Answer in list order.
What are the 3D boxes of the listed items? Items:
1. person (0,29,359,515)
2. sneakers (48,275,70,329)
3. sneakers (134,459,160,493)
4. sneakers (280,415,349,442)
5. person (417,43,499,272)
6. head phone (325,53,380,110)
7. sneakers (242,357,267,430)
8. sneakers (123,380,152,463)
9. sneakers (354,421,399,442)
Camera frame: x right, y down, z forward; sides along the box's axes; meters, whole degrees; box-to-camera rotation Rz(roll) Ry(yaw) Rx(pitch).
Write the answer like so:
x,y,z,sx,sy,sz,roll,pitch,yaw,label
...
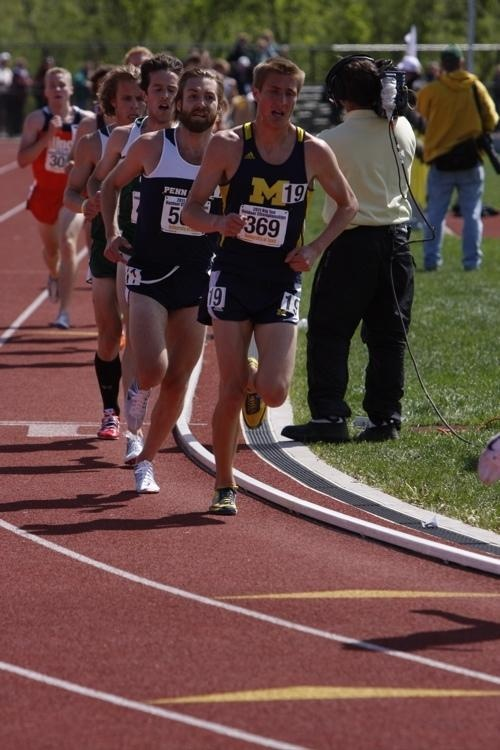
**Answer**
x,y,z,sx,sy,sz,roll,pitch,yaw,label
-0.113,-0.351,3.871,1.038,2.002,0.683,10,11,44,person
-1.829,-0.739,8.516,0.219,0.278,0.683,-25,35,1,sneakers
-0.511,0.506,4.248,0.083,0.086,0.216,-2,11,-11,sneakers
0.376,0.306,5.071,0.386,0.156,0.144,2,0,-1,sneakers
2.749,-2.907,11.539,0.983,2.906,0.374,4,8,12,person
0.543,-1.622,4.830,0.288,0.333,0.327,-6,43,0,head phone
0.036,0.140,4.850,0.145,0.393,0.163,1,28,8,sneakers
-0.619,0.243,4.551,0.159,0.453,0.207,0,0,-25,sneakers
0.714,0.329,5.088,0.298,0.114,0.104,-2,9,23,sneakers
